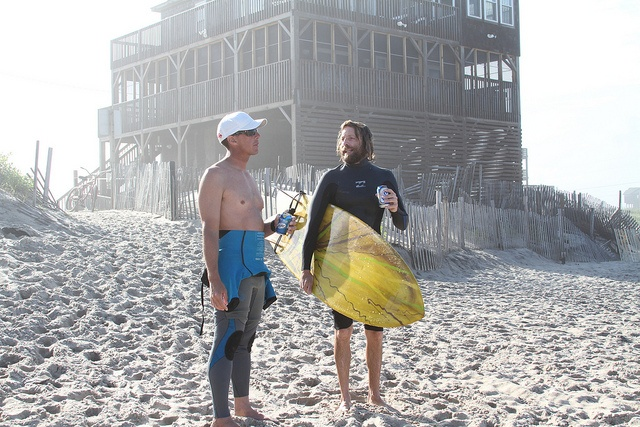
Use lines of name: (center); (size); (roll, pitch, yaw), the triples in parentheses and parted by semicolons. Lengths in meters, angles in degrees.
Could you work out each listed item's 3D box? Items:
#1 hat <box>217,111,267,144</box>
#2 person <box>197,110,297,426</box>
hat: (-0.767, -0.843, 5.589); (0.384, 0.225, 0.292); (-18, 15, 4)
person: (-0.809, 0.573, 5.488); (0.696, 3.021, 0.950); (6, 12, 17)
